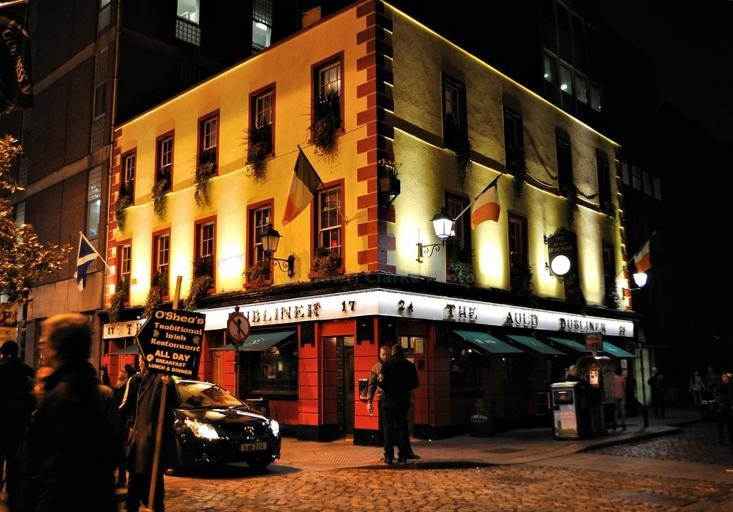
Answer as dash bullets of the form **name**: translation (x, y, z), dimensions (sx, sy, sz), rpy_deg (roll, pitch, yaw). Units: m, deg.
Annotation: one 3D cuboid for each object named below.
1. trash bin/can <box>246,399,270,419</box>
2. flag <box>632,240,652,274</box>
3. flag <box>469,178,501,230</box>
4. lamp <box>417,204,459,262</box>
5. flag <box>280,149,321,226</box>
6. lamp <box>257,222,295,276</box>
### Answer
- **trash bin/can**: translation (-3.220, 4.469, 24.139), dimensions (0.598, 0.732, 1.028), rpy_deg (-3, -6, 5)
- **flag**: translation (12.071, 0.034, 36.363), dimensions (0.177, 1.853, 1.425), rpy_deg (3, -8, -26)
- **flag**: translation (3.985, -1.766, 28.215), dimensions (0.216, 1.882, 1.587), rpy_deg (19, -20, -39)
- **lamp**: translation (2.218, -0.670, 26.938), dimensions (1.228, 1.655, 0.661), rpy_deg (-10, -13, 32)
- **flag**: translation (-2.074, -2.253, 26.261), dimensions (1.211, 2.318, 0.903), rpy_deg (-1, -16, -7)
- **lamp**: translation (-2.974, -0.201, 27.370), dimensions (1.185, 1.846, 0.612), rpy_deg (10, -16, -32)
